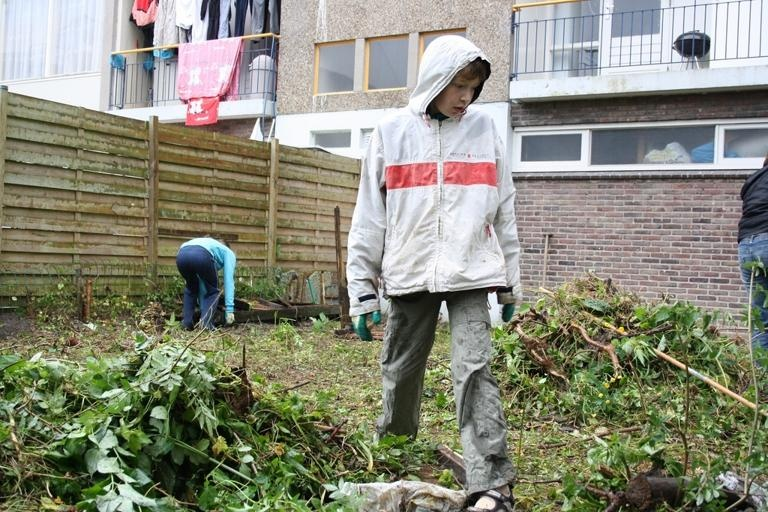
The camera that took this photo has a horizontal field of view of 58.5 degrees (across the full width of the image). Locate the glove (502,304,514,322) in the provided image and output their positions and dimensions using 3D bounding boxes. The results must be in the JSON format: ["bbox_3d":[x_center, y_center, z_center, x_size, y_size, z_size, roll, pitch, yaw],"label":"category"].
[{"bbox_3d":[0.908,0.413,5.016,0.058,0.174,0.072,5,-6,9],"label":"glove"}]

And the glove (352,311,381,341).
[{"bbox_3d":[-0.139,0.549,5.012,0.241,0.334,0.112,-2,13,-13],"label":"glove"}]

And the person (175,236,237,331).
[{"bbox_3d":[-2.431,0.383,9.349,0.773,1.252,0.809,0,1,-13],"label":"person"}]
